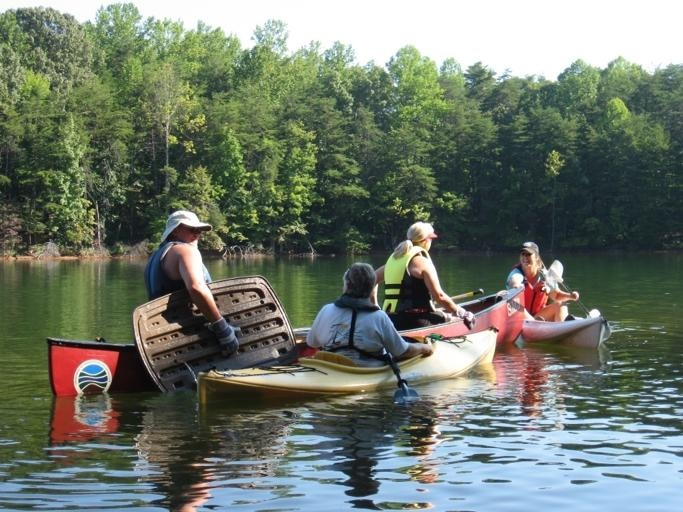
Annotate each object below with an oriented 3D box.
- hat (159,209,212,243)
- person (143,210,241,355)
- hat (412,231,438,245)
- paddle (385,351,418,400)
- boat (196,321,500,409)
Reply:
[{"bbox_3d":[-1.973,-0.369,11.369,0.684,0.279,0.407,-4,3,-15],"label":"hat"},{"bbox_3d":[-1.871,0.305,11.254,1.097,1.279,0.658,-3,-2,-9],"label":"person"},{"bbox_3d":[1.216,-0.228,12.946,0.368,0.095,0.214,-15,9,-27],"label":"hat"},{"bbox_3d":[0.700,1.450,11.219,0.236,0.131,0.791,-4,25,-9],"label":"paddle"},{"bbox_3d":[0.339,1.165,11.611,4.157,0.472,1.123,-3,1,-29],"label":"boat"}]
